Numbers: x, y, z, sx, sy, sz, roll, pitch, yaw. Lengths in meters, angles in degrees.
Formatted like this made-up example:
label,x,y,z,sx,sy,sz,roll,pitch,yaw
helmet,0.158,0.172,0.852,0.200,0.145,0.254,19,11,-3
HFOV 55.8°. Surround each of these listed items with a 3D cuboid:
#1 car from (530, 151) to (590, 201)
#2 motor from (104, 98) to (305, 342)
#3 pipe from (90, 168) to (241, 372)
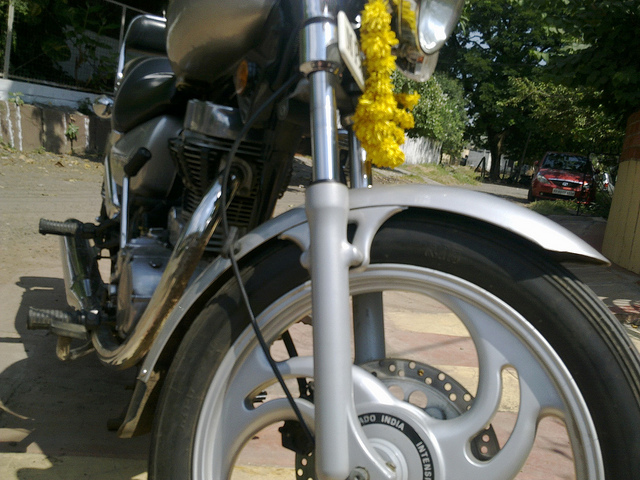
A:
label,x,y,z,sx,sy,sz,roll,pitch,yaw
car,5.517,-1.508,13.806,0.992,1.204,2.205,5,-3,23
motor,-0.357,-0.008,2.119,0.459,0.669,0.962,21,-13,-23
pipe,-0.455,0.168,1.818,0.087,0.616,0.476,16,27,-9
